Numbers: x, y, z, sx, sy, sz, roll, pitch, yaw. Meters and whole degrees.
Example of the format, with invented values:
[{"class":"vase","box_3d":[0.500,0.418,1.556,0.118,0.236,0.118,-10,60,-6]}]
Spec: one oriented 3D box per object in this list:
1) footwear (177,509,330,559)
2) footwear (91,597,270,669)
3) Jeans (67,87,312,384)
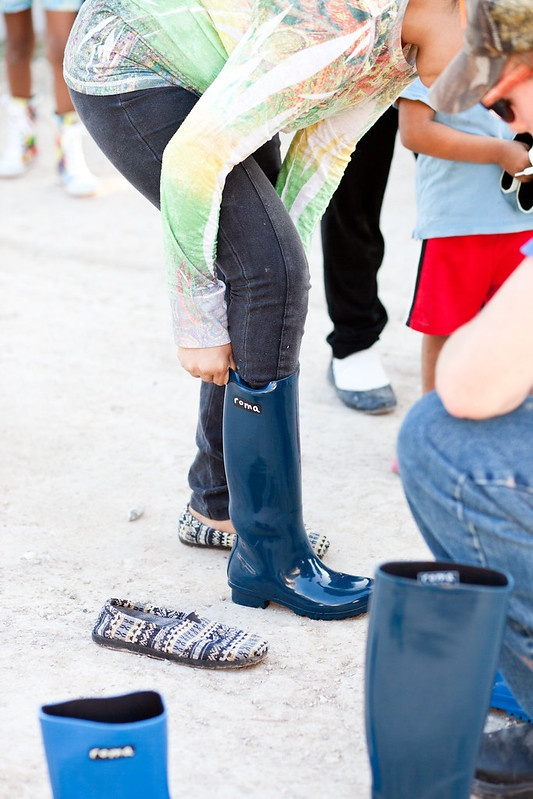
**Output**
[{"class":"footwear","box_3d":[-0.046,0.253,1.488,0.300,0.095,0.092,4,5,11]},{"class":"footwear","box_3d":[-0.141,0.338,1.214,0.274,0.057,0.094,5,12,16]},{"class":"Jeans","box_3d":[-0.080,-0.214,1.218,0.271,0.453,0.157,-26,15,-1]}]
